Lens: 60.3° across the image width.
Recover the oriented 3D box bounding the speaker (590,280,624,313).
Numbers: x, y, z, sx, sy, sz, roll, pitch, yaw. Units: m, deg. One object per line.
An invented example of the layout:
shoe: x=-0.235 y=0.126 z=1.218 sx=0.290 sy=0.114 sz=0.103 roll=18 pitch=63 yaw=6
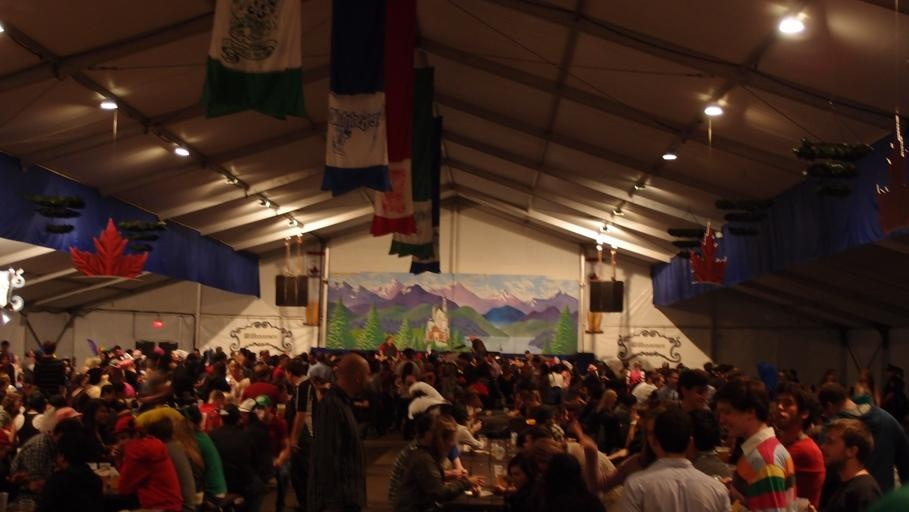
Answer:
speaker: x=5.826 y=1.601 z=30.919 sx=1.457 sy=1.245 sz=0.733 roll=1 pitch=-3 yaw=-18

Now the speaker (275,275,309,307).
speaker: x=-6.626 y=1.425 z=31.584 sx=1.249 sy=1.194 sz=0.653 roll=2 pitch=-7 yaw=-7
